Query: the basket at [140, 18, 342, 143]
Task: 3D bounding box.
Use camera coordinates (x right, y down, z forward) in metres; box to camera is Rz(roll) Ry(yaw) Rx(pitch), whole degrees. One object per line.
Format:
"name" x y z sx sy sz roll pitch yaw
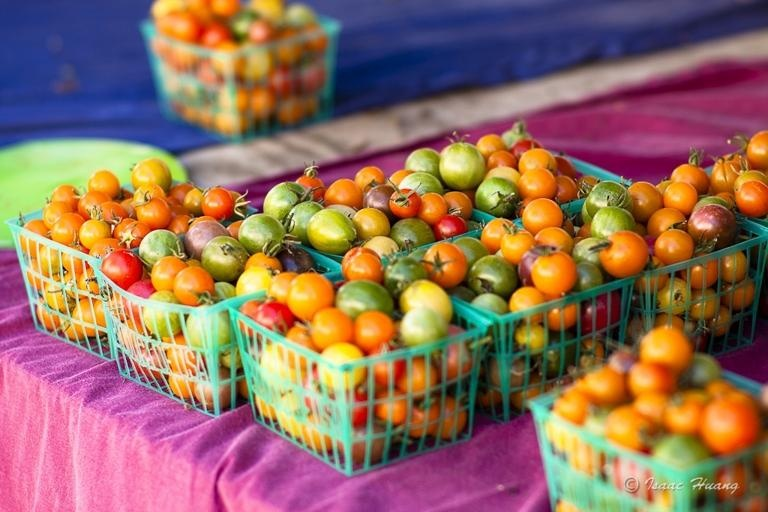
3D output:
"basket" -0.834 -1.057 4.053 0.979 0.491 0.788 -16 33 -23
